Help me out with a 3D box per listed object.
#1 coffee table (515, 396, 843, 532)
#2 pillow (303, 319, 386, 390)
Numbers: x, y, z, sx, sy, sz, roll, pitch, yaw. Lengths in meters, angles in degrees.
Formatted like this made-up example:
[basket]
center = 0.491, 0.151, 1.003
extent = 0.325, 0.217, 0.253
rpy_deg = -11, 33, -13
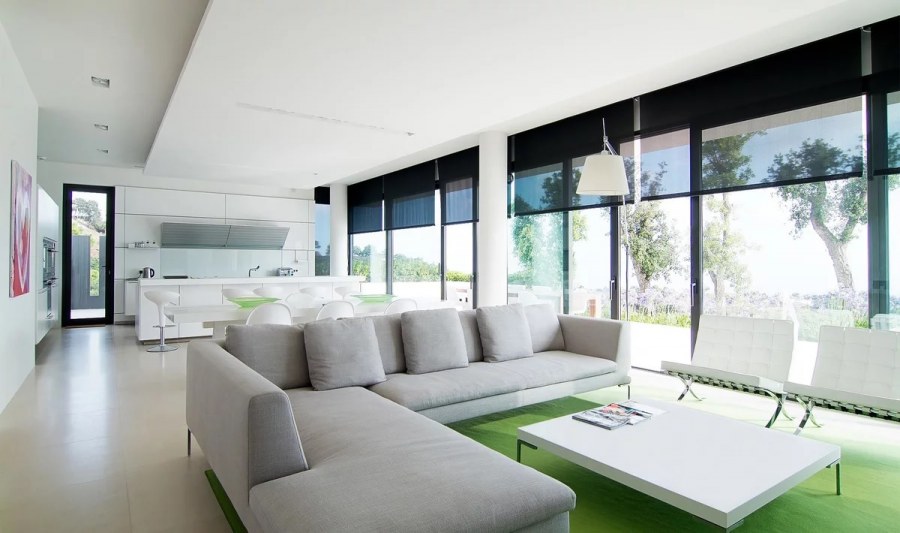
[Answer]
[coffee table]
center = 2.208, 1.848, 5.280
extent = 2.398, 0.993, 1.449
rpy_deg = 2, 0, 34
[pillow]
center = -1.155, 0.960, 5.841
extent = 0.834, 0.607, 0.424
rpy_deg = -1, 3, -33
